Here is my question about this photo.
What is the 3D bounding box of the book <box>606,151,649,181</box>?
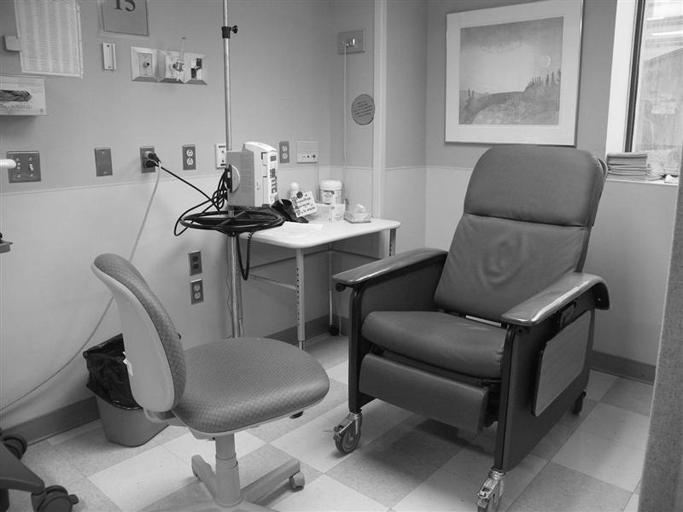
[{"bbox_3d":[1.520,-0.475,2.724,0.196,0.073,0.183,3,15,27],"label":"book"}]

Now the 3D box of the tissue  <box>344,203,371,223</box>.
[{"bbox_3d":[0.095,-0.244,3.152,0.134,0.088,0.138,0,11,-5],"label":"tissue "}]

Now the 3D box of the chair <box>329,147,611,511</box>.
[{"bbox_3d":[0.587,0.202,2.292,0.857,1.322,1.137,13,20,42],"label":"chair"}]

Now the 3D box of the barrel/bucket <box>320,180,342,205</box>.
[{"bbox_3d":[-0.065,-0.395,3.266,0.150,0.168,0.154,1,7,0],"label":"barrel/bucket"}]

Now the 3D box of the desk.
[{"bbox_3d":[-0.216,0.004,2.995,0.719,1.006,1.051,9,15,37],"label":"desk"}]

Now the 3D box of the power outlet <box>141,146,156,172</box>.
[{"bbox_3d":[-0.957,-0.478,2.556,0.080,0.131,0.040,-11,17,-35],"label":"power outlet"}]
